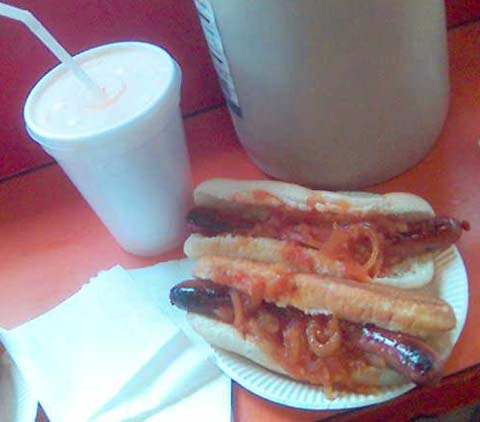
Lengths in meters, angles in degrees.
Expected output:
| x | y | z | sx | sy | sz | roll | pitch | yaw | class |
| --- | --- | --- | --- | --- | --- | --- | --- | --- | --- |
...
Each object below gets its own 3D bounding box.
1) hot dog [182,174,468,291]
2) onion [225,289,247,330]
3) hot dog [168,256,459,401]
| x | y | z | sx | sy | sz | roll | pitch | yaw | class |
| --- | --- | --- | --- | --- | --- | --- | --- | --- | --- |
| 0.219 | 0.042 | 1.431 | 0.766 | 0.234 | 0.372 | 6 | 79 | 12 | hot dog |
| -0.007 | 0.259 | 1.268 | 0.043 | 0.025 | 0.100 | -7 | 92 | 6 | onion |
| 0.182 | 0.288 | 1.199 | 0.622 | 0.206 | 0.332 | 15 | 57 | 29 | hot dog |
